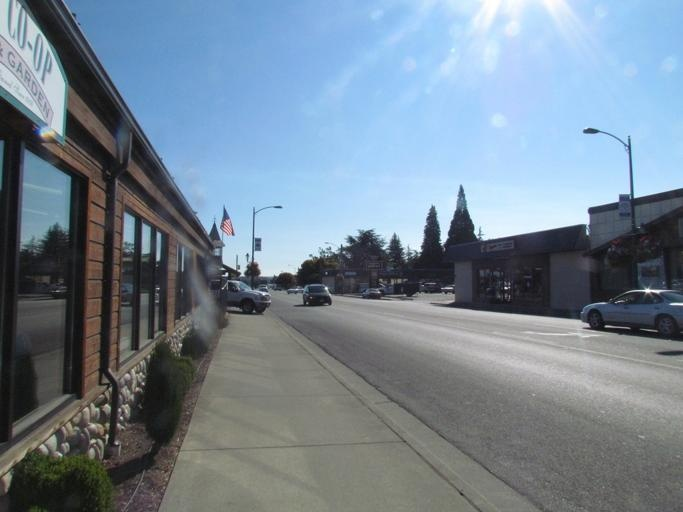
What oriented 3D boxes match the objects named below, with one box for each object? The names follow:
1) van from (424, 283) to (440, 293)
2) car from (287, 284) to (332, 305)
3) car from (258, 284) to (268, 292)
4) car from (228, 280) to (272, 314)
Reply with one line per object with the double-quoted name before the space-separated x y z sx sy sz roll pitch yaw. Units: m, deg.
"van" 14.508 5.116 80.877 1.634 1.350 1.835 3 -5 -18
"car" -1.970 2.937 37.636 1.882 1.587 3.179 0 1 -14
"car" -10.762 4.334 68.798 1.127 1.218 2.759 1 -13 -13
"car" -5.229 2.210 27.978 2.102 1.844 2.590 1 1 -8
